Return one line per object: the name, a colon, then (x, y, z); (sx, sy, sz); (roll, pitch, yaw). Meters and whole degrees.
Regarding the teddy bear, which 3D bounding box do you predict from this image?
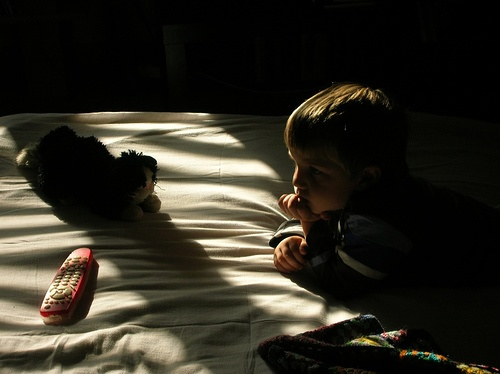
teddy bear: (-0.381, -0.043, 1.047); (0.388, 0.141, 0.160); (18, 15, 17)
